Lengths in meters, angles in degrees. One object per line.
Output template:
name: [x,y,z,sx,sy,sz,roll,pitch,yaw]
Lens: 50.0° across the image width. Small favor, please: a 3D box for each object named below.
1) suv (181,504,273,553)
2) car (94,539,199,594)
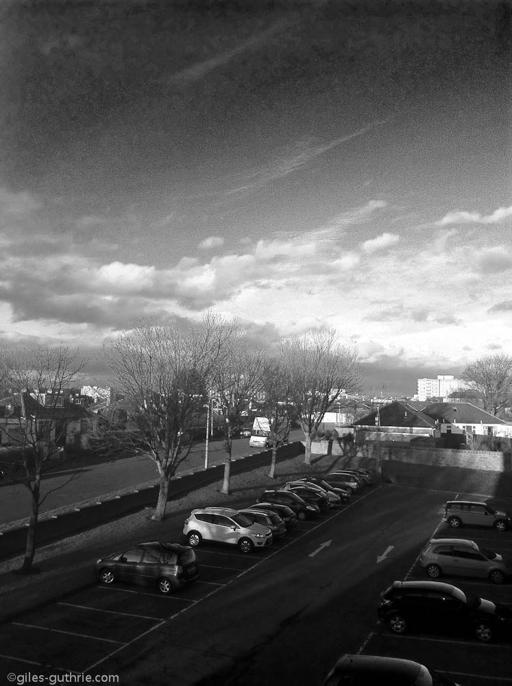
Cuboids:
suv: [-1.202,7.223,21.248,2.707,1.140,1.521,0,0,17]
car: [-3.149,6.599,16.320,2.294,1.029,1.360,3,-7,18]
